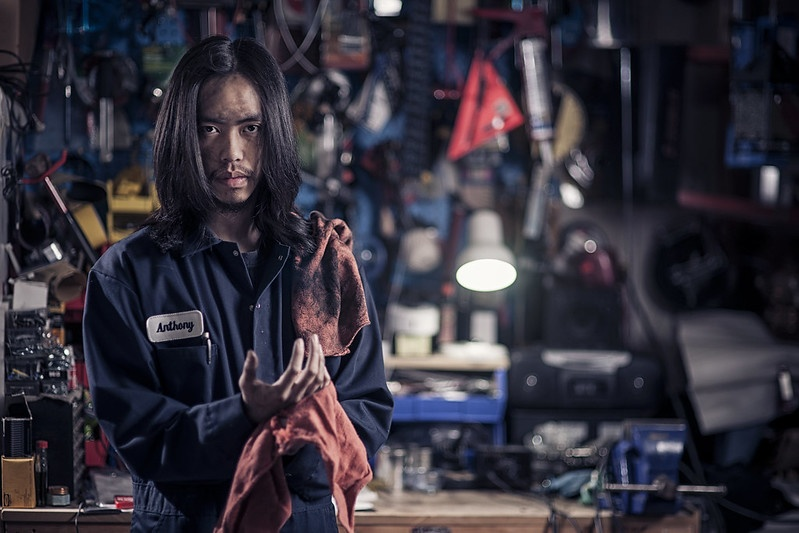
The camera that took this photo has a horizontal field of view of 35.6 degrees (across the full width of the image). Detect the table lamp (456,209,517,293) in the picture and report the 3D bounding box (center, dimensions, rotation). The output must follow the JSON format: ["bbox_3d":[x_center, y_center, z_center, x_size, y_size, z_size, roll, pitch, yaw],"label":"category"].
[{"bbox_3d":[0.477,-0.088,7.075,0.390,0.449,0.406,1,-8,-3],"label":"table lamp"}]

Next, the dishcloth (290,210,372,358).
[{"bbox_3d":[-0.318,0.106,5.648,0.338,0.585,0.242,4,-4,11],"label":"dishcloth"}]
